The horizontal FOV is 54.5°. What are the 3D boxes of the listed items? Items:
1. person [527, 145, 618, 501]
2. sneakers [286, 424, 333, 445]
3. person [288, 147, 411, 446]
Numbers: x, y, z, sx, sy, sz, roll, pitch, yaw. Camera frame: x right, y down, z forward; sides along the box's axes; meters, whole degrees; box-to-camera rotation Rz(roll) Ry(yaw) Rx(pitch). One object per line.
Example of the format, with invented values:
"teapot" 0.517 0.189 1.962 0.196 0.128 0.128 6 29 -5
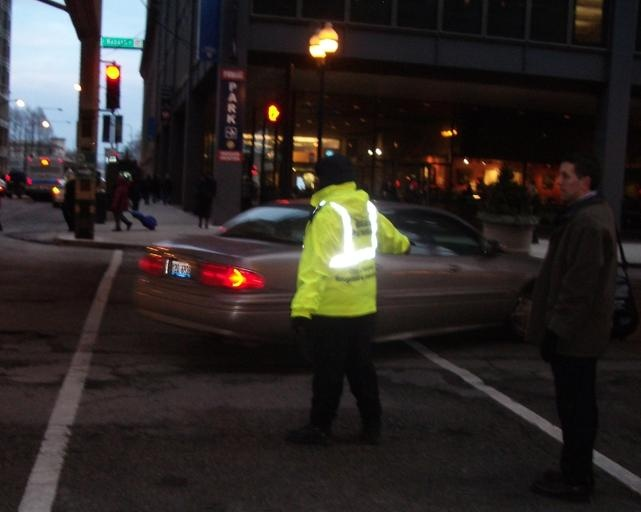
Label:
"person" 1.472 0.414 3.686 0.459 1.976 0.406 4 6 26
"sneakers" -0.087 1.226 4.291 0.266 0.126 0.130 6 -3 -2
"person" 0.175 0.294 4.263 0.483 1.969 1.042 6 7 38
